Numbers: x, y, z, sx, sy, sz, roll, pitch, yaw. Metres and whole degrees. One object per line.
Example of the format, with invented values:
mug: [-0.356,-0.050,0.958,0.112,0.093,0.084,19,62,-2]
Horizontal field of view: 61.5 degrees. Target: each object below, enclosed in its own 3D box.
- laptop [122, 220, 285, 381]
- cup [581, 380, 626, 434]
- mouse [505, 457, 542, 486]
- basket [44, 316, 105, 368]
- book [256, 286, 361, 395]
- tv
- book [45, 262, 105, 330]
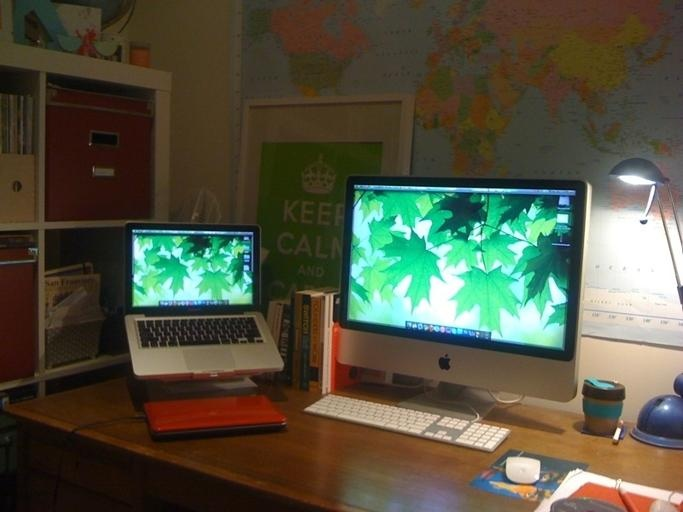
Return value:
laptop: [-0.396,0.111,1.685,0.493,0.320,0.462,-10,28,-43]
cup: [0.701,0.402,1.526,0.112,0.132,0.114,1,-3,0]
mouse: [0.404,0.475,1.272,0.091,0.065,0.049,1,-3,9]
basket: [-0.902,0.321,2.003,0.236,0.141,0.171,-12,-22,6]
book: [-0.053,0.224,1.934,0.272,0.367,0.370,-1,2,34]
tv: [0.355,0.104,1.569,0.650,0.585,0.172,4,3,26]
book: [-0.908,0.117,1.943,0.189,0.199,0.053,-3,-28,-24]
